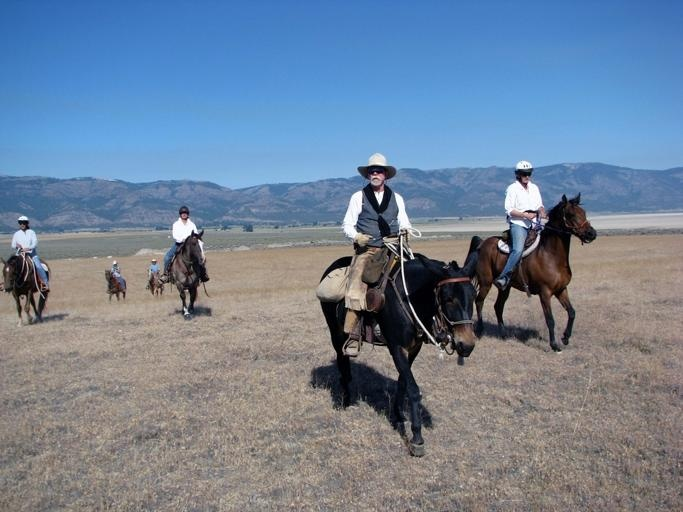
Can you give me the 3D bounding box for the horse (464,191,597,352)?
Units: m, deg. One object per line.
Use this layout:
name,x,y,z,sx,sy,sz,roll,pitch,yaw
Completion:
horse,5.708,0.580,15.962,1.332,4.610,5.811,-3,2,-19

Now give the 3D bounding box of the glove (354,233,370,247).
glove,0.446,-0.314,10.418,0.315,0.337,0.398,-1,12,-1

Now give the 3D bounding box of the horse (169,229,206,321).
horse,-6.495,0.928,20.520,1.272,3.324,4.873,-2,-3,-32

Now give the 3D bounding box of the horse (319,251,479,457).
horse,1.194,1.730,10.602,1.805,3.758,4.062,-9,15,-35

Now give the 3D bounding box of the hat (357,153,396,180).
hat,0.777,-1.852,10.404,0.731,0.542,0.721,-2,13,-6
